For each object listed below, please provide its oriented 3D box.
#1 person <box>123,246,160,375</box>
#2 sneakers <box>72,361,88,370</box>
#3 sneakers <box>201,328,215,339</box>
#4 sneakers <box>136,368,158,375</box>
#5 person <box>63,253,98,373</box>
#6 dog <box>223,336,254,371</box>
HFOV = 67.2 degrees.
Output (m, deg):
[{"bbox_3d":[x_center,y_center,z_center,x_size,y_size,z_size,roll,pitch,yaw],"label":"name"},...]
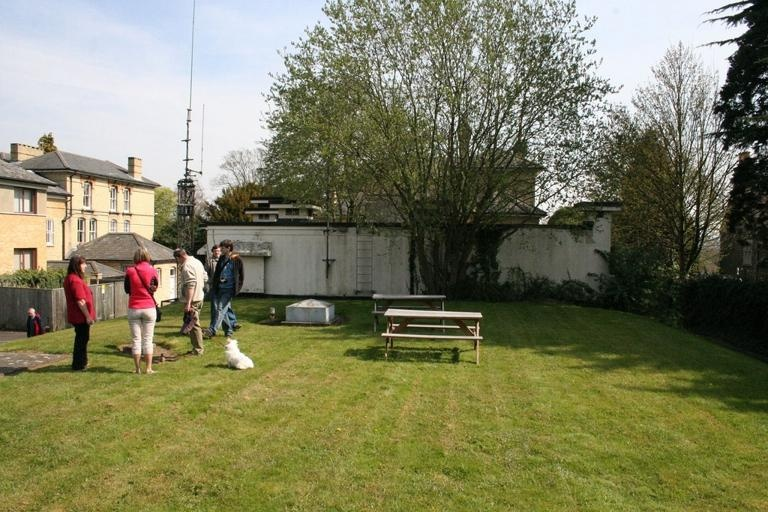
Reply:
[{"bbox_3d":[-5.319,1.199,12.679,0.613,2.776,0.891,-1,0,-23],"label":"person"},{"bbox_3d":[-6.802,2.447,12.872,0.178,0.180,0.186,0,-18,-6],"label":"sneakers"},{"bbox_3d":[-4.700,2.075,15.431,0.162,0.236,0.461,6,0,-9],"label":"sneakers"},{"bbox_3d":[-5.261,2.557,12.781,0.459,0.211,0.163,-2,0,6],"label":"sneakers"},{"bbox_3d":[-6.806,1.266,12.903,0.522,2.560,1.076,-1,0,-27],"label":"person"},{"bbox_3d":[-3.490,2.272,13.436,0.390,0.588,0.981,-5,12,-38],"label":"dog"}]
